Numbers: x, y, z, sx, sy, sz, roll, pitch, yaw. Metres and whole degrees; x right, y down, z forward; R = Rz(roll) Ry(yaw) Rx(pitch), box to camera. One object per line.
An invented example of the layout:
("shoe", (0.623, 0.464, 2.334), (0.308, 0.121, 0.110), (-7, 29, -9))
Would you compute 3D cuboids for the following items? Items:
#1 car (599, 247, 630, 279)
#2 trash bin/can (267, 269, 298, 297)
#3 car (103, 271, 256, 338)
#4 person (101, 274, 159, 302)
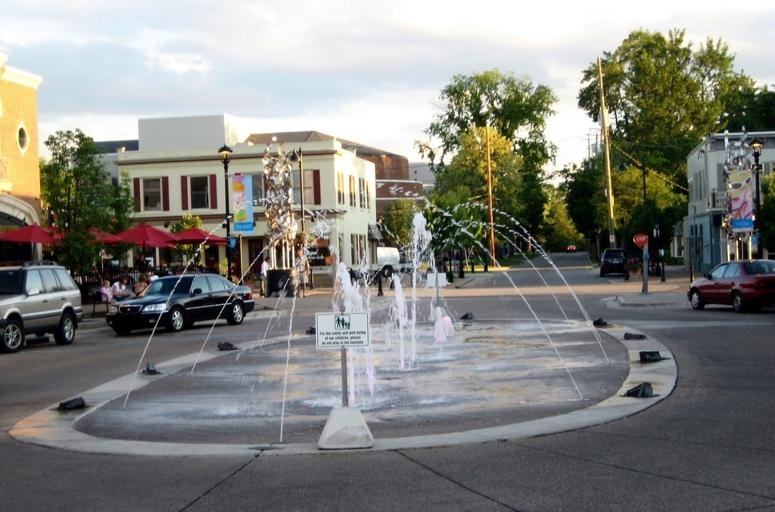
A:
("car", (15.007, 0.378, 54.417), (1.277, 1.319, 2.656), (0, 5, 10))
("trash bin/can", (-5.620, 1.443, 43.835), (1.388, 1.570, 1.354), (0, -1, 3))
("car", (-6.771, 1.663, 28.238), (1.970, 1.596, 4.809), (-6, -8, 28))
("person", (-10.306, 1.290, 32.723), (1.152, 1.259, 1.874), (1, -6, -40))
